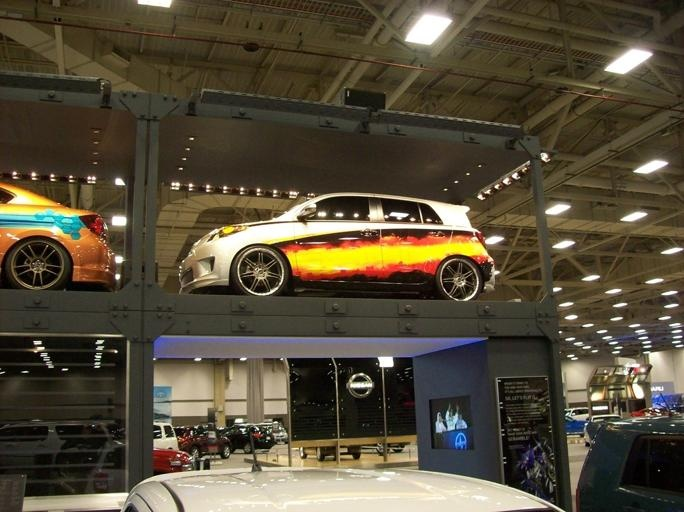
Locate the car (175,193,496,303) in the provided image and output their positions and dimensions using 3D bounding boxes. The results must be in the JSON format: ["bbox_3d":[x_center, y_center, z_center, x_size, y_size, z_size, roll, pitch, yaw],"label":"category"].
[{"bbox_3d":[-0.002,0.024,10.210,4.800,1.458,2.055,5,-14,-15],"label":"car"}]
